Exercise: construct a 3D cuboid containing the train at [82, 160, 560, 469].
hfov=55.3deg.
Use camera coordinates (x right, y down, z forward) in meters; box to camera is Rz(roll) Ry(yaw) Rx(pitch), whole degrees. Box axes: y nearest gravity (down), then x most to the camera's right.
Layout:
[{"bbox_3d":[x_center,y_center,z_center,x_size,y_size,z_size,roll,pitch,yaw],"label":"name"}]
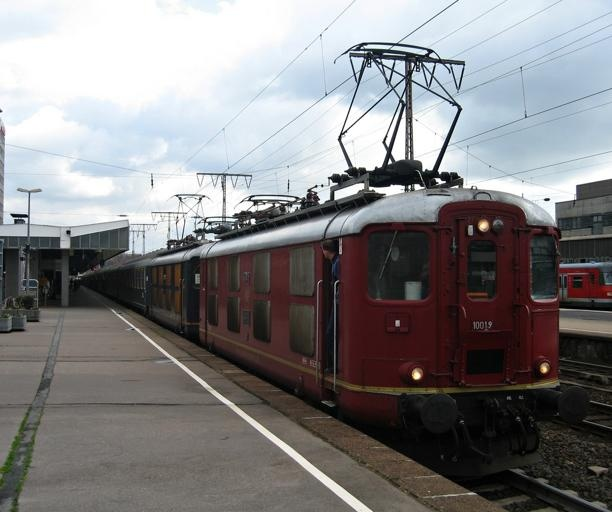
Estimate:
[{"bbox_3d":[-0.931,0.995,16.887,3.233,4.894,20.070,0,-2,-20],"label":"train"}]
